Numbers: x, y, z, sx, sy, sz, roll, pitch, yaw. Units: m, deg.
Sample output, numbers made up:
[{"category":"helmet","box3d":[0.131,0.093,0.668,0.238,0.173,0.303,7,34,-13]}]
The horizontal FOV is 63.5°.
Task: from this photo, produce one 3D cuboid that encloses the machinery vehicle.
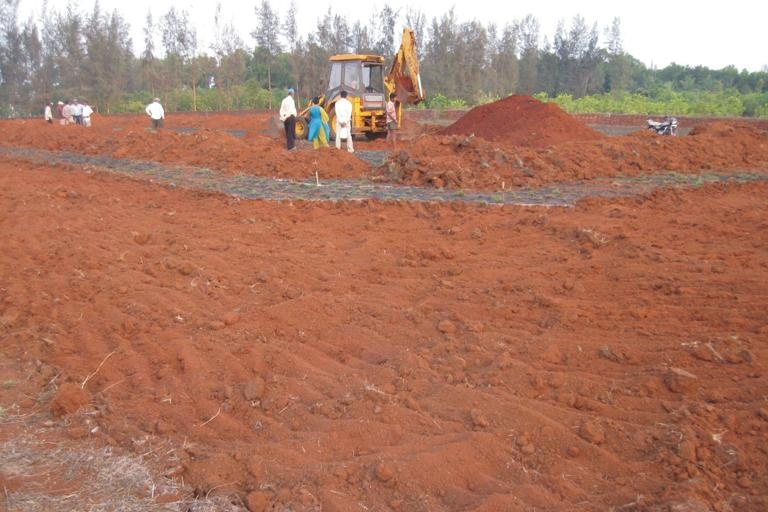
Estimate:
[{"category":"machinery vehicle","box3d":[-0.817,-5.179,19.304,4.944,3.033,1.724,9,15,40]}]
